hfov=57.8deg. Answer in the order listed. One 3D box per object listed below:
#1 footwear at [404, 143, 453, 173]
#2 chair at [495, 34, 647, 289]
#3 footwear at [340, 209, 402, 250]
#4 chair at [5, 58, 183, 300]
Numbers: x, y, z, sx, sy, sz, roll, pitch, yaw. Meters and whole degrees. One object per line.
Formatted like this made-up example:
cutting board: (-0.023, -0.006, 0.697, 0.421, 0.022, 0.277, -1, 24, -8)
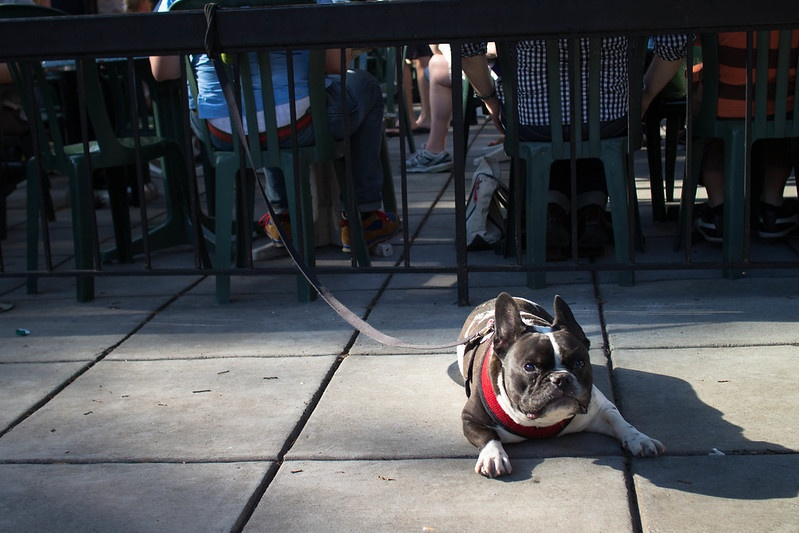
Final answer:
footwear: (0.369, -1.253, 8.462, 0.713, 0.331, 0.270, 2, 15, 4)
chair: (1.075, -0.642, 4.551, 0.843, 1.499, 0.888, 0, 15, 16)
footwear: (-0.193, -0.293, 5.426, 0.540, 0.264, 0.199, -11, 57, -23)
chair: (-2.105, -0.621, 4.925, 0.874, 1.514, 1.277, -1, 14, 12)
